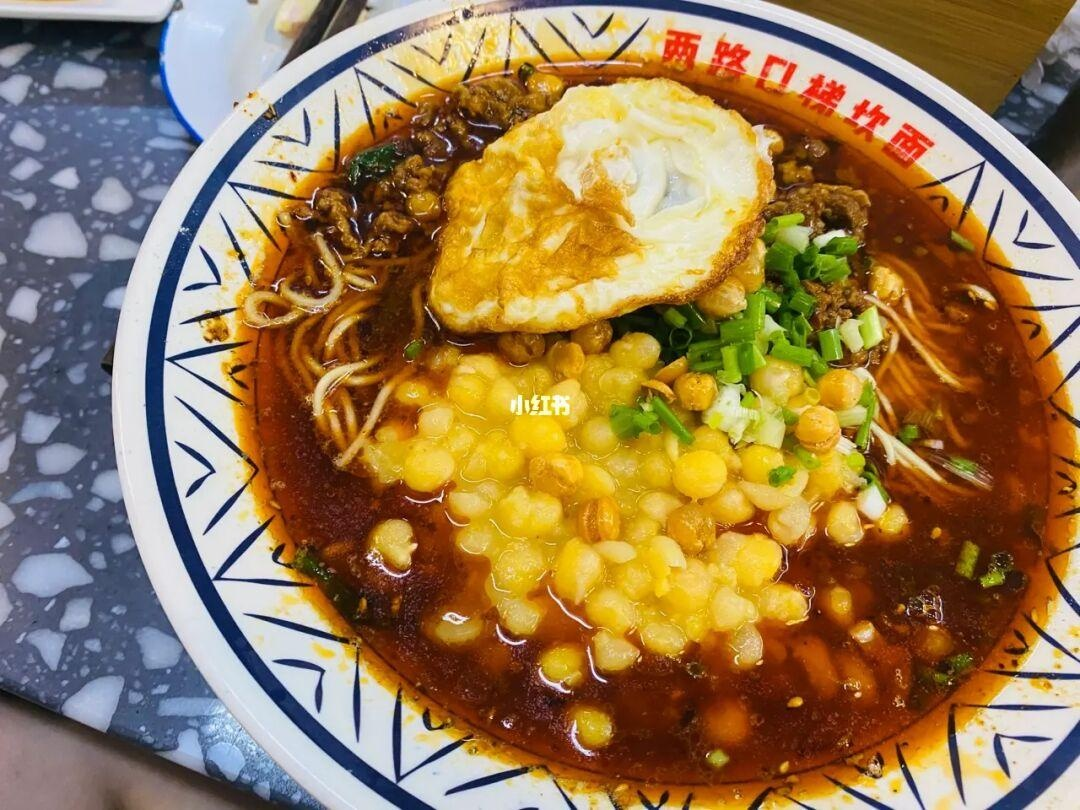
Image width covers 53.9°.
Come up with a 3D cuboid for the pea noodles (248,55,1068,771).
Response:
[{"bbox_3d":[0.531,0.166,4.974,2.798,0.653,2.762,-10,76,-4],"label":"pea noodles"}]
